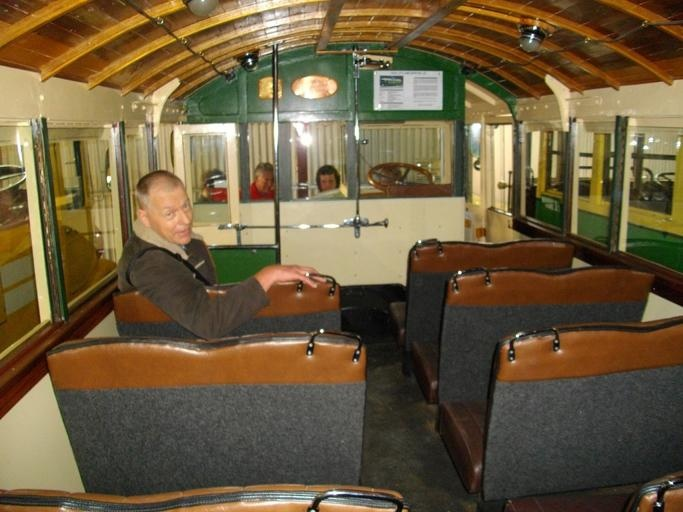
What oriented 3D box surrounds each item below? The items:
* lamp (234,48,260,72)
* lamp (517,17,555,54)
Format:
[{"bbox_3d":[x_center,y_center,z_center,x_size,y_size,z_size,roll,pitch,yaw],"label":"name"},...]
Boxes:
[{"bbox_3d":[-1.267,-2.710,7.389,0.237,0.093,0.231,-7,1,10],"label":"lamp"},{"bbox_3d":[1.939,-2.199,5.396,0.371,0.274,0.344,7,19,-20],"label":"lamp"}]
